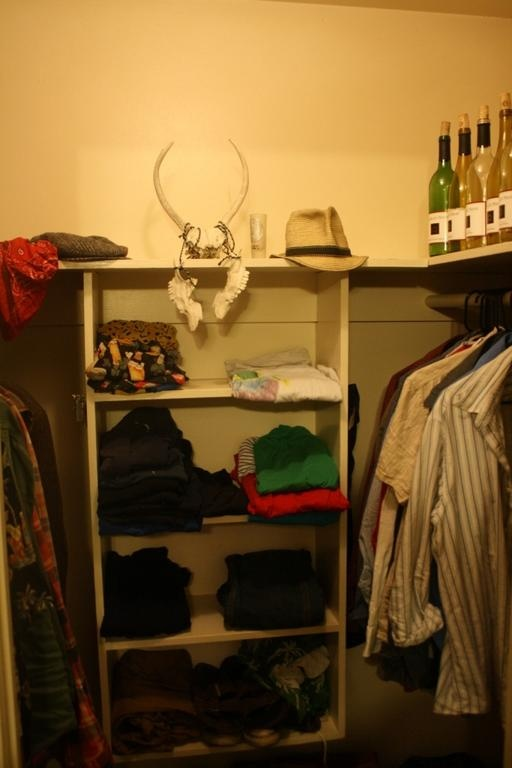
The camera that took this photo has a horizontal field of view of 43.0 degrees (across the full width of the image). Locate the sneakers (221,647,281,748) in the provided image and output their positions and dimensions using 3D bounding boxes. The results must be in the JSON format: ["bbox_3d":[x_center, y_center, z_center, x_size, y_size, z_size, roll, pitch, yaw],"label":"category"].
[{"bbox_3d":[-0.016,0.957,1.932,0.202,0.091,0.271,-2,18,0],"label":"sneakers"}]

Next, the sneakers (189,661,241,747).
[{"bbox_3d":[-0.130,0.958,1.934,0.105,0.191,0.056,2,-35,-26],"label":"sneakers"}]

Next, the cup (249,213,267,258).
[{"bbox_3d":[0.008,-0.421,1.852,0.040,0.120,0.030,-2,11,2],"label":"cup"}]

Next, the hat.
[{"bbox_3d":[0.198,-0.385,1.709,0.176,0.104,0.234,-5,16,-16],"label":"hat"}]

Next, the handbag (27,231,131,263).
[{"bbox_3d":[-0.443,-0.346,1.654,0.229,0.074,0.101,-7,12,-18],"label":"handbag"}]

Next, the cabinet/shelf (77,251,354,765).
[{"bbox_3d":[-0.054,0.442,1.996,0.904,1.639,0.494,-5,11,-12],"label":"cabinet/shelf"}]
